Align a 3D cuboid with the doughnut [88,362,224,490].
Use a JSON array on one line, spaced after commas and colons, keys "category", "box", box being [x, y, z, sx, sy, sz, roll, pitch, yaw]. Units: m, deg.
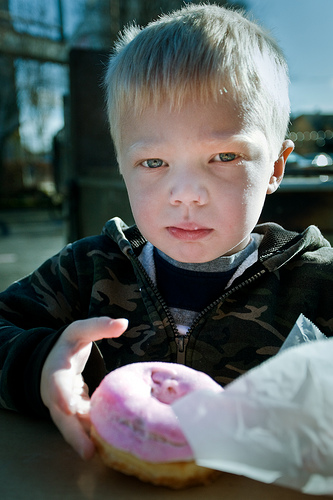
[{"category": "doughnut", "box": [-0.001, 0.178, 0.557, 0.194, 0.065, 0.181, 3, 20, -3]}]
